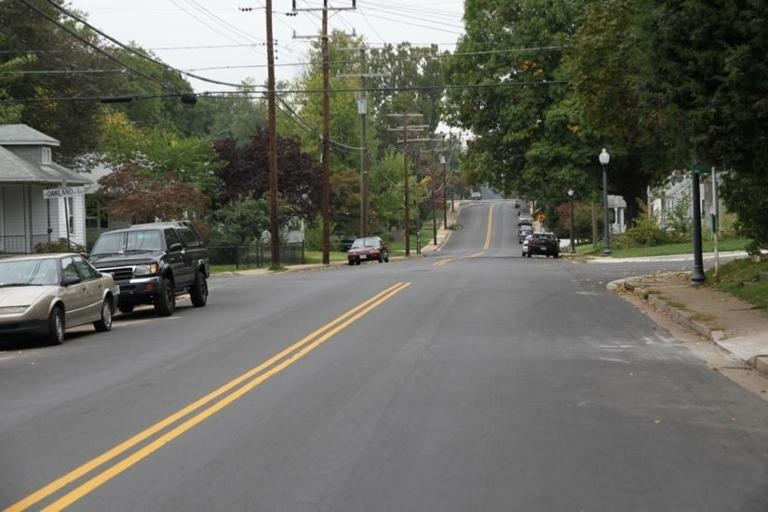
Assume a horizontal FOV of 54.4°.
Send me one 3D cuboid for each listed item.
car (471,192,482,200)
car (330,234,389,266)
[{"bbox_3d":[19.317,-12.755,156.651,1.487,1.343,2.867,-2,-5,3],"label":"car"},{"bbox_3d":[-0.963,-0.358,47.727,1.991,1.602,3.724,-1,2,18],"label":"car"}]
